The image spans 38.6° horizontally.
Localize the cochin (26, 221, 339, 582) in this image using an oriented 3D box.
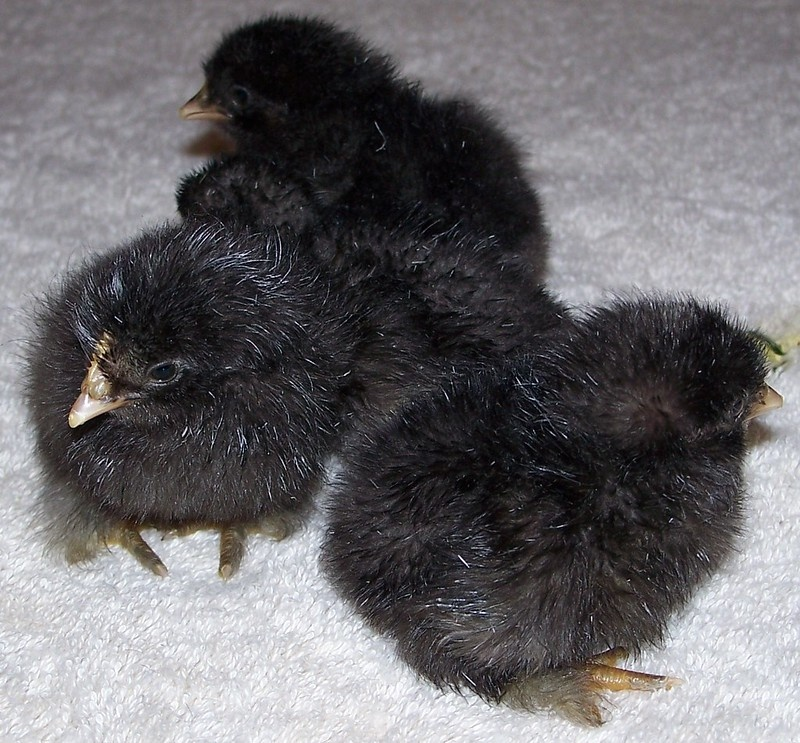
[{"bbox_3d":[-0.341,0.064,1.858,0.393,0.429,0.440,24,54,6],"label":"cochin"}]
